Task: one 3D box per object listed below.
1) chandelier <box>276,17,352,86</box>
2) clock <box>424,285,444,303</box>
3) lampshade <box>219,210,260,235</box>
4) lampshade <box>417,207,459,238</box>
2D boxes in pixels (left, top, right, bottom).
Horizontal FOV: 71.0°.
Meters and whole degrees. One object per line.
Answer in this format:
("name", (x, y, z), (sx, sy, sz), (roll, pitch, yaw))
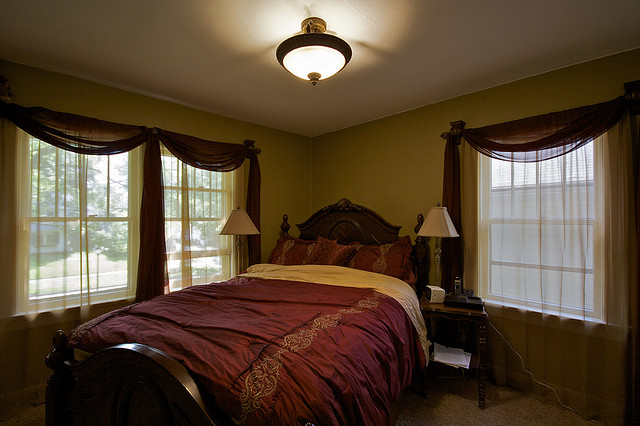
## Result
("chandelier", (-0.068, -1.441, 4.201), (0.512, 0.465, 0.525), (0, -4, -2))
("clock", (1.245, 0.859, 4.827), (0.139, 0.155, 0.208), (1, -2, 0))
("lampshade", (-0.967, 0.076, 5.325), (0.323, 0.283, 0.320), (-3, 1, -45))
("lampshade", (1.244, 0.094, 4.910), (0.431, 0.287, 0.439), (0, 6, -11))
